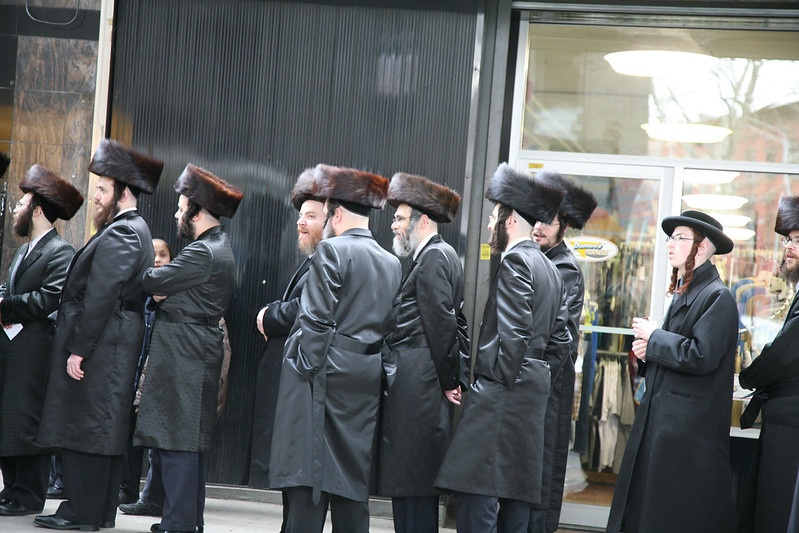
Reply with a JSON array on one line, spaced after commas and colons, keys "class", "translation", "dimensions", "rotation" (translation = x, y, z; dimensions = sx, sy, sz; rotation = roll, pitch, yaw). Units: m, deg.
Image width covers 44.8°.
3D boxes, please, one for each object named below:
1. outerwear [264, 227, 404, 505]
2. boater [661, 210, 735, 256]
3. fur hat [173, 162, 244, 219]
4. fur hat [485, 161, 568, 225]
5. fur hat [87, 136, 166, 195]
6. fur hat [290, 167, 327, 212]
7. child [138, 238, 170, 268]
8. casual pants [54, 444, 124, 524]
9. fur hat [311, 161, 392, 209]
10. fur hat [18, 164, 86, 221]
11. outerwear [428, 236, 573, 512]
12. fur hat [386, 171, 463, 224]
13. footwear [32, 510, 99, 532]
[{"class": "outerwear", "translation": [-0.462, 0.748, 6.943], "dimensions": [0.838, 1.935, 0.352], "rotation": [4, 0, -10]}, {"class": "boater", "translation": [2.292, -0.254, 7.393], "dimensions": [0.397, 0.117, 0.380], "rotation": [28, 1, 10]}, {"class": "fur hat", "translation": [-1.563, -0.607, 8.007], "dimensions": [0.541, 0.293, 0.610], "rotation": [29, 0, 7]}, {"class": "fur hat", "translation": [0.931, -0.536, 7.261], "dimensions": [0.444, 0.226, 0.461], "rotation": [32, 4, 20]}, {"class": "fur hat", "translation": [-2.223, -0.796, 7.926], "dimensions": [0.481, 0.284, 0.420], "rotation": [15, -11, 7]}, {"class": "fur hat", "translation": [-0.778, -0.655, 7.932], "dimensions": [0.287, 0.399, 0.146], "rotation": [0, -5, -9]}, {"class": "child", "translation": [-2.140, -0.116, 8.528], "dimensions": [0.239, 0.361, 0.274], "rotation": [-3, -40, -11]}, {"class": "casual pants", "translation": [-2.447, 1.798, 7.638], "dimensions": [0.465, 0.644, 0.128], "rotation": [4, -1, -18]}, {"class": "fur hat", "translation": [-0.342, -0.646, 7.404], "dimensions": [0.658, 0.353, 0.626], "rotation": [8, 15, 5]}, {"class": "fur hat", "translation": [-3.045, -0.629, 8.372], "dimensions": [0.559, 0.280, 0.614], "rotation": [11, -16, 40]}, {"class": "outerwear", "translation": [0.781, 0.770, 7.127], "dimensions": [0.964, 1.872, 0.435], "rotation": [4, 0, -8]}, {"class": "fur hat", "translation": [0.200, -0.562, 7.814], "dimensions": [0.649, 0.326, 0.624], "rotation": [19, 3, -8]}, {"class": "footwear", "translation": [-2.620, 2.060, 7.645], "dimensions": [0.477, 0.189, 0.190], "rotation": [7, -13, -5]}]
